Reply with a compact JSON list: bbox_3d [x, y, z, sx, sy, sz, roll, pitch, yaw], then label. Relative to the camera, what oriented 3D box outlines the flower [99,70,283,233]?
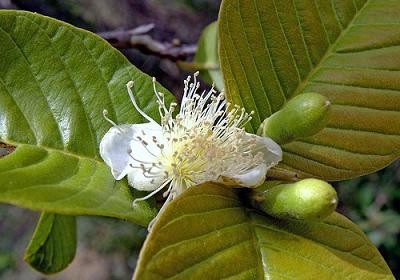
[{"bbox_3d":[-0.037,0.037,1.618,0.422,0.165,0.462,15,58,0],"label":"flower"}]

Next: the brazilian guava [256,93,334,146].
[{"bbox_3d":[0.259,-0.054,1.425,0.190,0.093,0.094,-19,65,44],"label":"brazilian guava"}]

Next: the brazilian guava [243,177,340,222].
[{"bbox_3d":[0.245,0.163,1.398,0.228,0.100,0.096,-7,94,41],"label":"brazilian guava"}]
